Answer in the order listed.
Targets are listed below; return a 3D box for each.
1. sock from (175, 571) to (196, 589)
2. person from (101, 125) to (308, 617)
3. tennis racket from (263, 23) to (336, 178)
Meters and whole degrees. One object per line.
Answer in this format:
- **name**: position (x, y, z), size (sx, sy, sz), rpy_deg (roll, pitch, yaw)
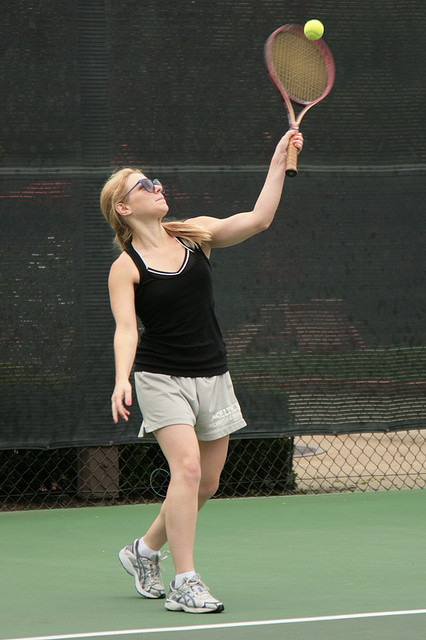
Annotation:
- **sock**: position (-0.079, 0.754, 2.037), size (0.059, 0.043, 0.069), rpy_deg (-1, -8, -6)
- **person**: position (-0.094, 0.194, 2.528), size (0.615, 1.593, 1.233), rpy_deg (-1, -5, -11)
- **tennis racket**: position (0.310, -0.938, 2.895), size (0.091, 0.795, 0.366), rpy_deg (-14, -38, 39)
